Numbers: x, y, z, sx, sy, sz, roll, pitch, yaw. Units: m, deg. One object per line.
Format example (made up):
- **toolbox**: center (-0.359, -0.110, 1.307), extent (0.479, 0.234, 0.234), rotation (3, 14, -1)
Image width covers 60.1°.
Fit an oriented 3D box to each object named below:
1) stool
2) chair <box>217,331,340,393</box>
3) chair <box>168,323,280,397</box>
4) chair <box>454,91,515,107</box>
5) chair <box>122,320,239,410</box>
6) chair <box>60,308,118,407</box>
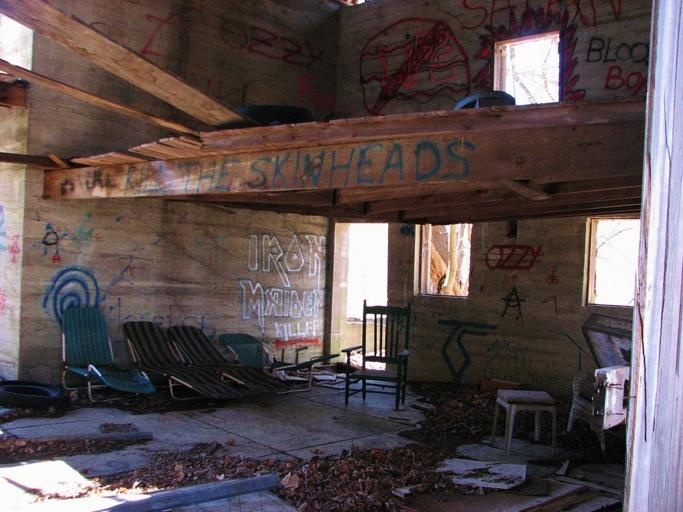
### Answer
- **stool**: center (1.987, 1.820, 6.679), extent (0.992, 0.583, 0.775), rotation (0, 1, -6)
- **chair**: center (-1.139, 1.757, 9.647), extent (1.980, 0.480, 0.940), rotation (9, 3, 28)
- **chair**: center (-1.744, 1.554, 8.929), extent (2.215, 0.565, 0.761), rotation (7, 0, 38)
- **chair**: center (1.430, -1.527, 5.815), extent (0.524, 0.189, 0.397), rotation (3, 0, 6)
- **chair**: center (-2.305, 1.502, 8.380), extent (2.120, 0.684, 0.746), rotation (6, 4, 40)
- **chair**: center (-3.522, 1.321, 8.174), extent (0.736, 1.330, 0.951), rotation (5, 0, -21)
